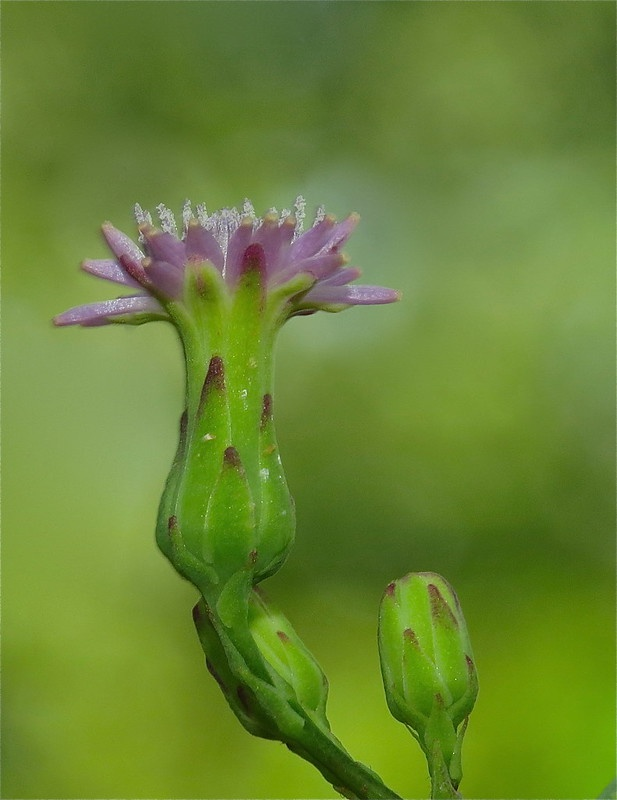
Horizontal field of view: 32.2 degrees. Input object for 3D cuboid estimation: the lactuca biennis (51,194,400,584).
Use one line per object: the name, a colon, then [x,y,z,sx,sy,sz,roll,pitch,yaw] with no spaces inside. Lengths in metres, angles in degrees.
lactuca biennis: [-0.135,0.014,2.217,0.685,0.675,0.703,0,-97,3]
